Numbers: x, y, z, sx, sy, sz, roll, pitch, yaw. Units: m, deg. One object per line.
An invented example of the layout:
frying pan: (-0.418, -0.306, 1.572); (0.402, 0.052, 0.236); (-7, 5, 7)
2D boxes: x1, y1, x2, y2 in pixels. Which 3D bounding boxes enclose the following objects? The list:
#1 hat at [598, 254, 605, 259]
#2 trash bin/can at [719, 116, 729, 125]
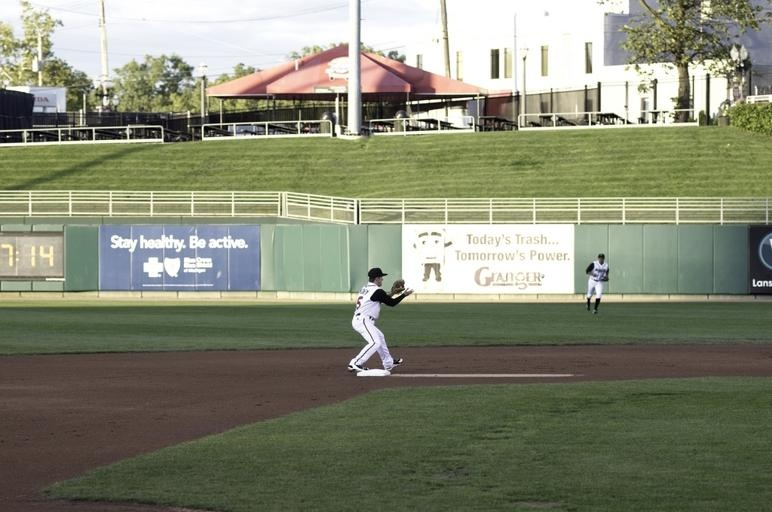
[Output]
hat: (10.917, 0.279, 84.450); (0.271, 0.203, 0.419); (2, -12, 5)
trash bin/can: (21.728, -8.454, 107.563); (0.546, 0.523, 0.567); (5, 11, 21)
